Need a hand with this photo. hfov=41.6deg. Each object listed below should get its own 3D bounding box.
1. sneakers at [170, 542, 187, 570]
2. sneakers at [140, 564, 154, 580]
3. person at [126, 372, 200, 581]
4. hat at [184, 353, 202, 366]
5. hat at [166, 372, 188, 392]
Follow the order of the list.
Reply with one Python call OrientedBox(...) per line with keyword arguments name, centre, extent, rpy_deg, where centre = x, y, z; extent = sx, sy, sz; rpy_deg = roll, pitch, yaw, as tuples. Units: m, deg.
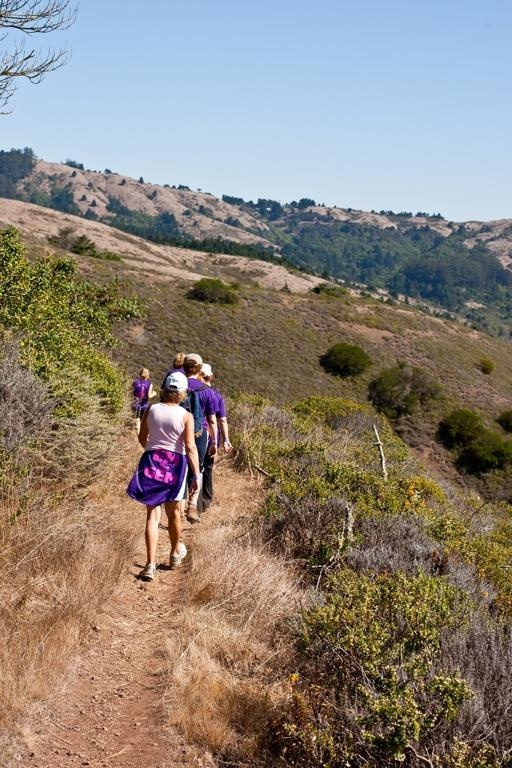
OrientedBox(name="sneakers", centre=(-0.560, 1.243, 4.941), extent=(0.071, 0.087, 0.202), rpy_deg=(4, 24, 12))
OrientedBox(name="sneakers", centre=(-0.744, 1.269, 4.541), extent=(0.060, 0.071, 0.154), rpy_deg=(10, -13, -8))
OrientedBox(name="person", centre=(-0.639, 0.647, 4.690), extent=(0.451, 1.494, 0.529), rpy_deg=(2, 14, -2))
OrientedBox(name="hat", centre=(-0.492, -0.179, 5.381), extent=(0.131, 0.070, 0.097), rpy_deg=(6, 22, -44))
OrientedBox(name="hat", centre=(-0.553, -0.016, 4.569), extent=(0.143, 0.143, 0.249), rpy_deg=(0, 14, -10))
